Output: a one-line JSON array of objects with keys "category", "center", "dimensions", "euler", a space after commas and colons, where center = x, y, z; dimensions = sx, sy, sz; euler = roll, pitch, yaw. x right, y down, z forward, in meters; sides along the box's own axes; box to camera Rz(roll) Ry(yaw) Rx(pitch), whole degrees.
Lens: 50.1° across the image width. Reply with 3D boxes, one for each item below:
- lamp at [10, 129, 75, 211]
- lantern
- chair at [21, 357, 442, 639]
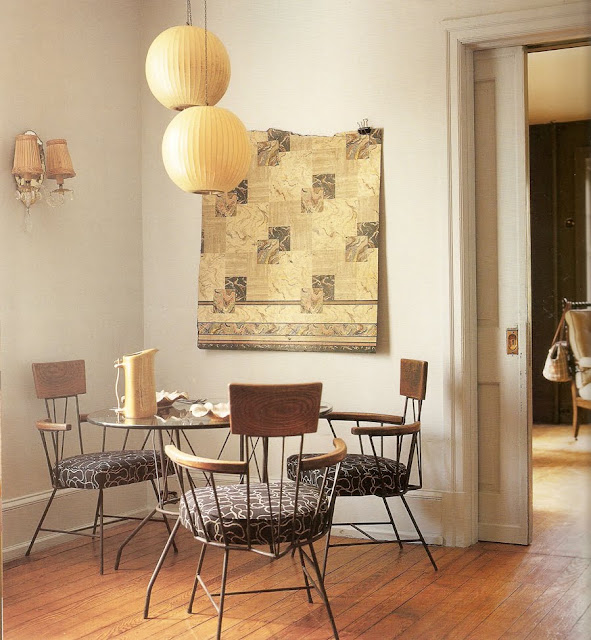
[{"category": "lamp", "center": [-1.365, -0.821, 3.471], "dimensions": [0.247, 0.417, 0.389], "euler": [-2, 6, 12]}, {"category": "lantern", "center": [-0.415, -0.905, 2.693], "dimensions": [0.412, 0.711, 0.291], "euler": [-4, 6, -8]}, {"category": "chair", "center": [-0.092, 0.655, 2.772], "dimensions": [1.327, 0.938, 1.306], "euler": [0, 0, 18]}]
